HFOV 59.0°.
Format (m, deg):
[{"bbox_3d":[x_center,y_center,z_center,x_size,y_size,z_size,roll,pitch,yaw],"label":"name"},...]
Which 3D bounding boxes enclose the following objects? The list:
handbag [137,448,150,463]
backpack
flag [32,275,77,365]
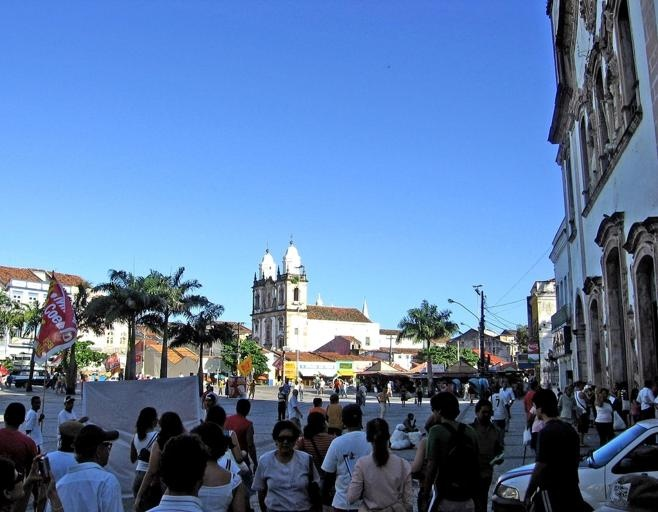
[{"bbox_3d":[-2.227,2.413,7.020,0.108,0.163,0.346,6,-15,-26],"label":"handbag"},{"bbox_3d":[1.407,2.233,6.494,0.392,0.719,0.420,22,-4,-24],"label":"backpack"},{"bbox_3d":[-7.123,1.597,15.108,0.946,2.861,0.160,2,-43,-30],"label":"flag"}]
